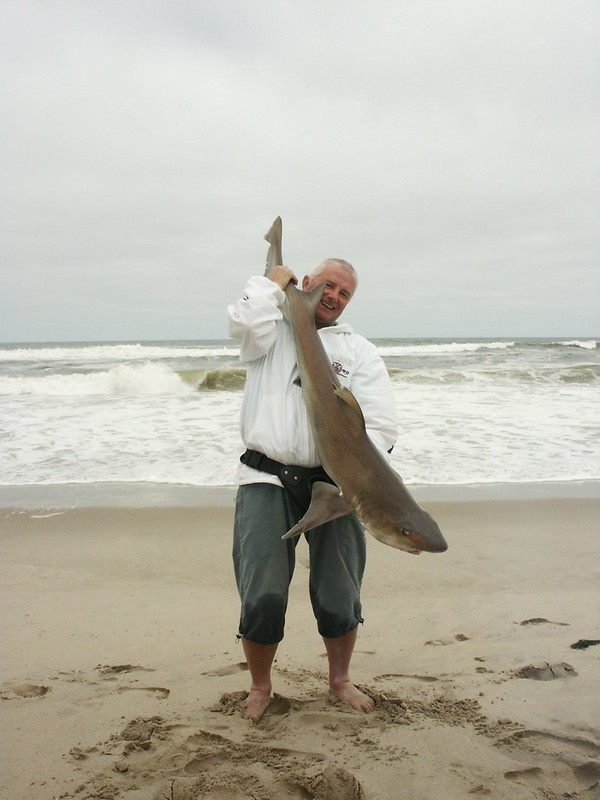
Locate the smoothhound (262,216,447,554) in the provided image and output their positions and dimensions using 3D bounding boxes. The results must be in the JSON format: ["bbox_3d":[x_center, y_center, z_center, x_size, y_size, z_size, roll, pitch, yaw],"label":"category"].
[{"bbox_3d":[0.154,0.085,3.204,0.502,1.087,1.000,-2,8,-13],"label":"smoothhound"}]
